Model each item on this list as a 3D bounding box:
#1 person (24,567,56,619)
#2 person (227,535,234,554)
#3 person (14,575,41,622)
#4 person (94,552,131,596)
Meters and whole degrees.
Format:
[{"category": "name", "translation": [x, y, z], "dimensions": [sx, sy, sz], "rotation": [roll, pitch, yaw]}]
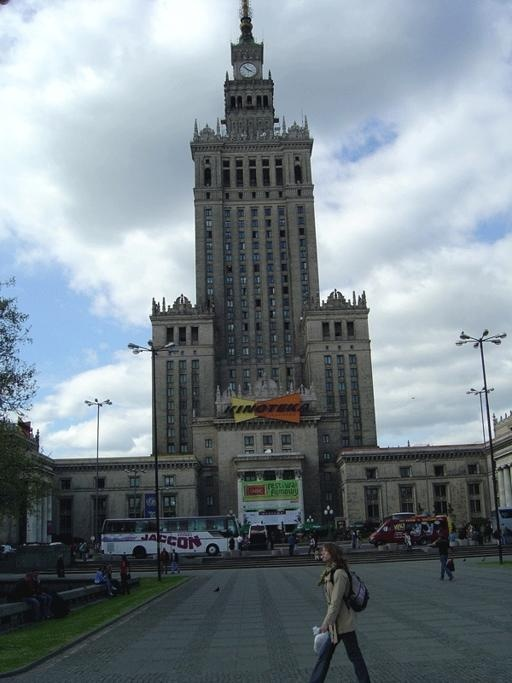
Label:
[{"category": "person", "translation": [-6.475, 7.431, 21.858], "dimensions": [0.867, 1.321, 0.687], "rotation": [-7, -11, 6]}, {"category": "person", "translation": [-1.970, 16.201, 60.057], "dimensions": [0.576, 1.065, 0.351], "rotation": [-7, -14, 8]}, {"category": "person", "translation": [-6.604, 7.419, 21.664], "dimensions": [0.679, 1.221, 1.069], "rotation": [-1, -14, -20]}, {"category": "person", "translation": [-5.743, 9.426, 29.728], "dimensions": [0.988, 1.338, 1.606], "rotation": [-13, -15, 29]}]
